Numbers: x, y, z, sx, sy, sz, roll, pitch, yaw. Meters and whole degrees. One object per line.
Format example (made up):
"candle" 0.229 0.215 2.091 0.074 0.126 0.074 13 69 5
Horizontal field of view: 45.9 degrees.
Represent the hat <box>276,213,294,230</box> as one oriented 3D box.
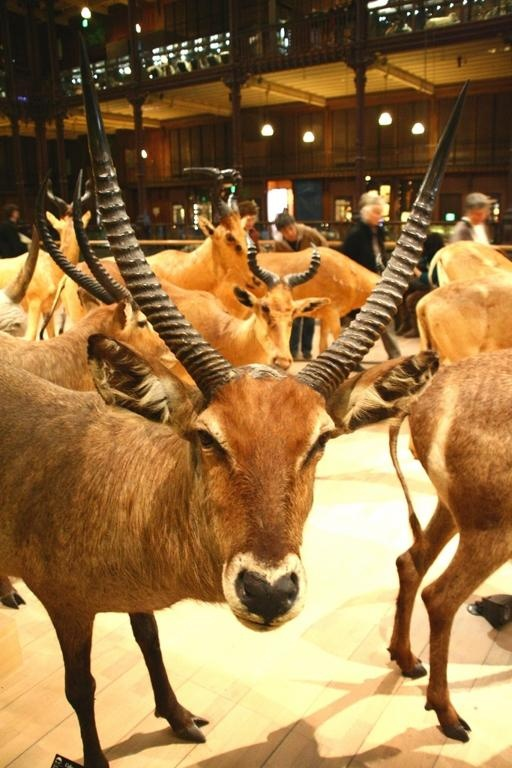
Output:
"hat" 0.382 -2.136 7.895 0.186 0.209 0.228 -2 -4 -8
